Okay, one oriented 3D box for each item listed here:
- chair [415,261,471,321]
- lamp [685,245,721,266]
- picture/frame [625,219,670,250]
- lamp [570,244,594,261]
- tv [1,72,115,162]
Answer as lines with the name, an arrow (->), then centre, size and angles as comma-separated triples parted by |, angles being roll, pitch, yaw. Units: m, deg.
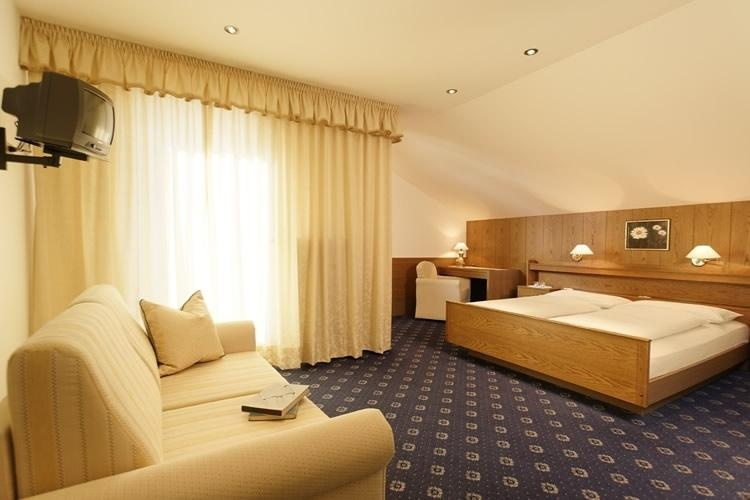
chair -> 1.086, 0.669, 8.406 | 1.004, 1.041, 1.059 | -1, -3, 21
lamp -> 3.936, 0.072, 5.867 | 0.306, 0.223, 0.281 | -8, 2, 45
picture/frame -> 3.566, -0.205, 6.351 | 0.052, 0.328, 0.450 | -3, 0, -31
lamp -> 2.953, 0.038, 6.978 | 0.280, 0.229, 0.247 | 0, -2, 27
tv -> -2.140, -0.895, 3.620 | 0.795, 0.540, 0.615 | 3, 1, -2
